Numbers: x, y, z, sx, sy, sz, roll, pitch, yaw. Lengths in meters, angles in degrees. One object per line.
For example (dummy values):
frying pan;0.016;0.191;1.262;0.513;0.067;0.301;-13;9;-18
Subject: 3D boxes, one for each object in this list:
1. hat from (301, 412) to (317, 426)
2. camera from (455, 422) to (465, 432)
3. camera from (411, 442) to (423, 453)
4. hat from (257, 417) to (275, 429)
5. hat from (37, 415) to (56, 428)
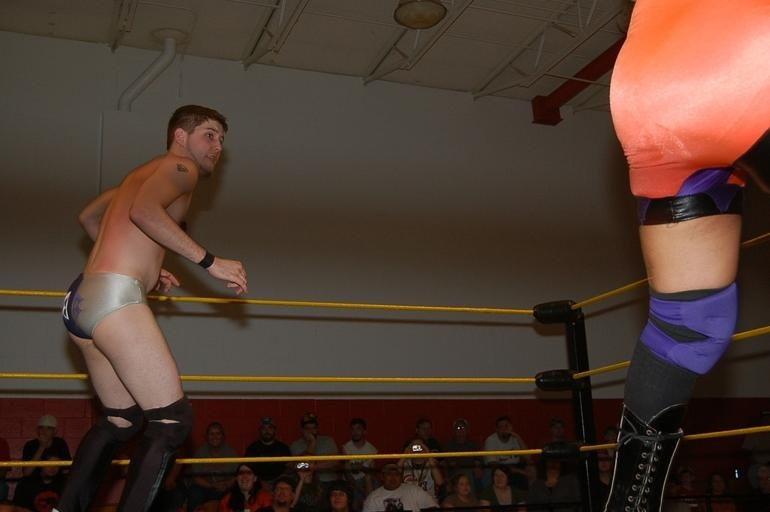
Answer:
hat;-0.722;1.560;6.052;0.117;0.064;0.116;13;-11;-40
camera;0.764;1.737;6.440;0.078;0.083;0.093;1;-25;0
camera;0.316;1.877;6.183;0.085;0.077;0.023;-1;-56;-1
hat;-1.105;1.565;5.945;0.100;0.124;0.065;-3;-45;-10
hat;-2.905;1.429;5.444;0.099;0.120;0.123;6;-16;-13
